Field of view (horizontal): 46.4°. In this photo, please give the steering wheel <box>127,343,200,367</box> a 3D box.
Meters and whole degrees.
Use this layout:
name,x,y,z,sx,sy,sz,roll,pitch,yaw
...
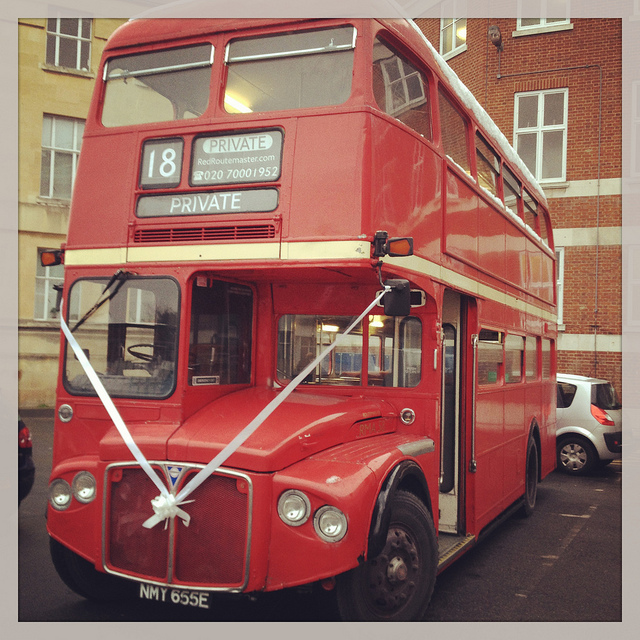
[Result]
name,x,y,z,sx,sy,sz,roll,pitch,yaw
steering wheel,-1.186,0.245,5.391,0.283,0.030,0.255,8,-22,9
